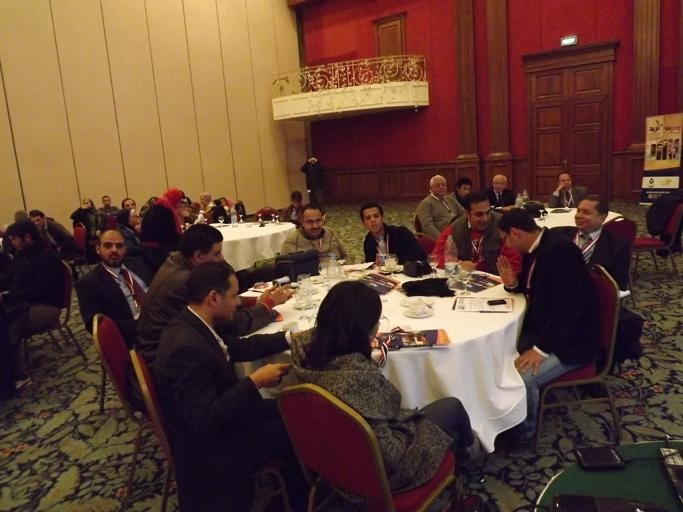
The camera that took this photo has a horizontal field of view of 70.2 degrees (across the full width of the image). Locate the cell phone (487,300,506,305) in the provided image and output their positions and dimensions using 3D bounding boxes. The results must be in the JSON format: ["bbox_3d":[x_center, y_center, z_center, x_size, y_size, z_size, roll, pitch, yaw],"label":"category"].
[{"bbox_3d":[1.006,0.297,3.155,0.126,0.017,0.108,-4,13,15],"label":"cell phone"}]

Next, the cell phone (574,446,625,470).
[{"bbox_3d":[1.102,0.858,2.092,0.186,0.062,0.112,-8,13,0],"label":"cell phone"}]

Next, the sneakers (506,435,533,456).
[{"bbox_3d":[1.157,1.224,3.152,0.178,0.057,0.160,-5,13,12],"label":"sneakers"}]

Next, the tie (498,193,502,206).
[{"bbox_3d":[2.556,-0.922,7.862,0.062,0.125,0.031,1,-6,3],"label":"tie"}]

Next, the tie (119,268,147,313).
[{"bbox_3d":[-1.776,0.295,4.090,0.082,0.316,0.212,-19,-6,22],"label":"tie"}]
